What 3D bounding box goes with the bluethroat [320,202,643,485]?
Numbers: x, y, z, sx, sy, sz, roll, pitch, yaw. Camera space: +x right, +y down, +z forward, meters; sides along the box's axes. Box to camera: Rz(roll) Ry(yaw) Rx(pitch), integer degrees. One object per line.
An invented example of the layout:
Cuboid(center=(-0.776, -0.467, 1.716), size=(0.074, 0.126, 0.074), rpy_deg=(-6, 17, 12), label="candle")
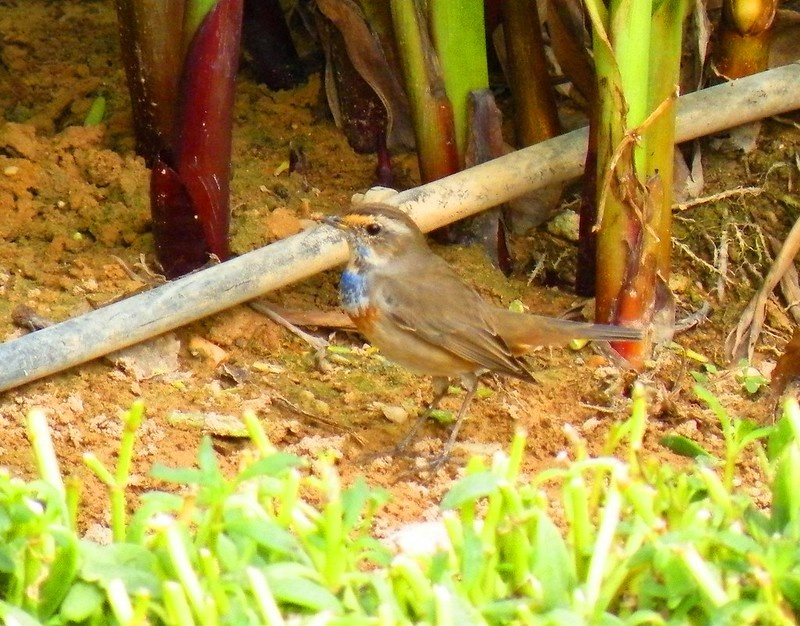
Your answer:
Cuboid(center=(0.196, -0.040, 4.372), size=(1.188, 0.749, 0.601), rpy_deg=(17, 37, 29), label="bluethroat")
